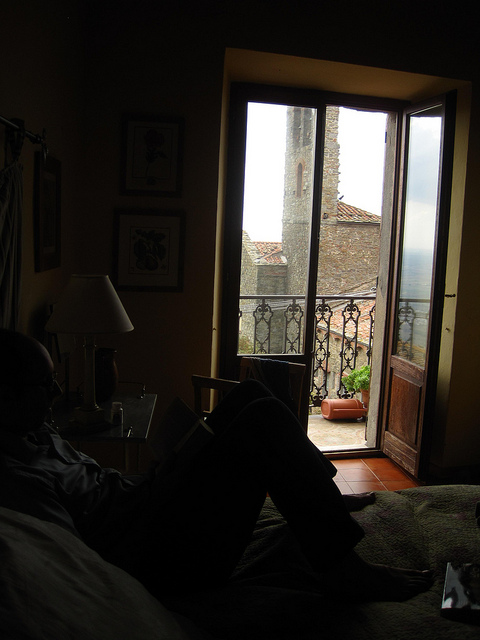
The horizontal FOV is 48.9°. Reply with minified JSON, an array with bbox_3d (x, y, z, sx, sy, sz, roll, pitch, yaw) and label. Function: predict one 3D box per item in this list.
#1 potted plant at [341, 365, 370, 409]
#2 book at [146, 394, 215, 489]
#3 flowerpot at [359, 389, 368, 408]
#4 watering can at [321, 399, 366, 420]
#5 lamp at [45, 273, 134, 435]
[{"bbox_3d":[1.218,0.647,5.169,0.253,0.354,0.288,-14,-4,-6],"label":"potted plant"},{"bbox_3d":[-0.159,0.296,1.319,0.064,0.185,0.184,22,25,-44],"label":"book"},{"bbox_3d":[1.199,0.749,5.054,0.122,0.155,0.133,0,3,5],"label":"flowerpot"},{"bbox_3d":[0.920,0.778,4.657,0.334,0.225,0.251,5,-12,-16],"label":"watering can"},{"bbox_3d":[-0.557,0.112,1.985,0.246,0.613,0.236,-5,1,20],"label":"lamp"}]
